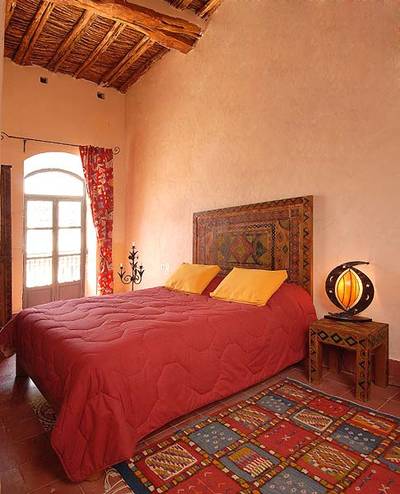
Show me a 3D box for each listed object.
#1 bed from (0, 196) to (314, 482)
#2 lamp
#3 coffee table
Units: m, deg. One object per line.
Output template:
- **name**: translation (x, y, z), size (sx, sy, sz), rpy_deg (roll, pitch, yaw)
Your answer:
- **bed**: translation (-0.105, 0.581, 2.679), size (1.998, 1.153, 1.676), rpy_deg (-6, 6, -40)
- **lamp**: translation (1.106, 0.320, 2.727), size (0.346, 0.423, 0.230), rpy_deg (-1, 3, 0)
- **coffee table**: translation (1.059, 0.746, 2.660), size (0.566, 0.404, 0.549), rpy_deg (0, 1, 14)
